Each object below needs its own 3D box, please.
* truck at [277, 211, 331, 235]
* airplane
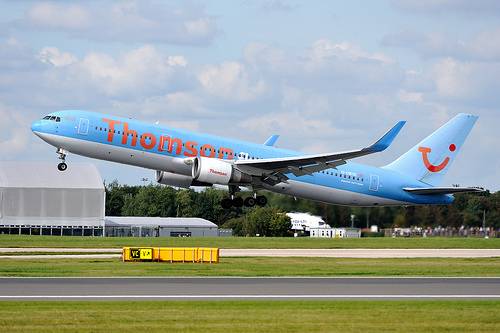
[{"bbox_3d":[6.399,6.961,103.801,3.663,1.426,3.517,1,0,30],"label":"truck"},{"bbox_3d":[0.531,-0.251,66.848,16.039,4.060,14.488,9,-3,-15],"label":"airplane"}]
